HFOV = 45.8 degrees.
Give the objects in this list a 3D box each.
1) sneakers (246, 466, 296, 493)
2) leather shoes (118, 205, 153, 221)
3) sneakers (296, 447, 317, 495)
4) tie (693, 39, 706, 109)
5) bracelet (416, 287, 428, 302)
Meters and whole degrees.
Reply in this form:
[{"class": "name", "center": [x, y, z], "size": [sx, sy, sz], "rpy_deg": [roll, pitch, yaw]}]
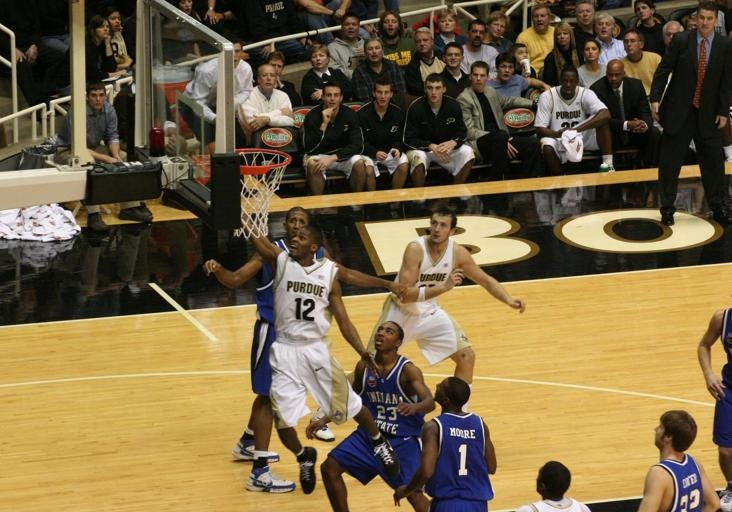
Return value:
[{"class": "sneakers", "center": [-0.693, 1.632, 6.366], "size": [0.388, 0.171, 0.153], "rpy_deg": [2, 6, -3]}, {"class": "leather shoes", "center": [-2.793, -0.514, 10.633], "size": [0.513, 0.188, 0.165], "rpy_deg": [1, 8, 25]}, {"class": "sneakers", "center": [-0.401, 1.514, 6.207], "size": [0.127, 0.349, 0.151], "rpy_deg": [0, 14, 20]}, {"class": "tie", "center": [3.617, -1.981, 9.404], "size": [0.102, 0.692, 0.100], "rpy_deg": [4, 5, 6]}, {"class": "bracelet", "center": [0.440, 0.300, 6.724], "size": [0.080, 0.090, 0.075], "rpy_deg": [0, 11, -5]}]
